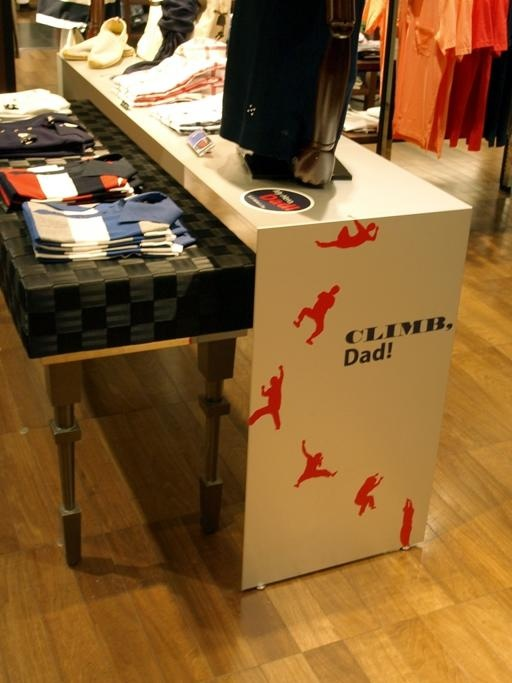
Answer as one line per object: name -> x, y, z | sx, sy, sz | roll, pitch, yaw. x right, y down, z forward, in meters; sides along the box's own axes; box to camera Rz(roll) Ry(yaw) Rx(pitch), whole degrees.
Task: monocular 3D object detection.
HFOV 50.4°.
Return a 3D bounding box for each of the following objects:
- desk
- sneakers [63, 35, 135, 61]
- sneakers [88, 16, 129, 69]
desk -> -0.202, 0.094, 1.192 | 0.466, 0.445, 0.469 | -9, 35, -17
sneakers -> -0.560, -1.030, 1.937 | 0.198, 0.072, 0.153 | 1, 31, 4
sneakers -> -0.500, -1.039, 1.919 | 0.109, 0.080, 0.225 | 18, 51, 6
